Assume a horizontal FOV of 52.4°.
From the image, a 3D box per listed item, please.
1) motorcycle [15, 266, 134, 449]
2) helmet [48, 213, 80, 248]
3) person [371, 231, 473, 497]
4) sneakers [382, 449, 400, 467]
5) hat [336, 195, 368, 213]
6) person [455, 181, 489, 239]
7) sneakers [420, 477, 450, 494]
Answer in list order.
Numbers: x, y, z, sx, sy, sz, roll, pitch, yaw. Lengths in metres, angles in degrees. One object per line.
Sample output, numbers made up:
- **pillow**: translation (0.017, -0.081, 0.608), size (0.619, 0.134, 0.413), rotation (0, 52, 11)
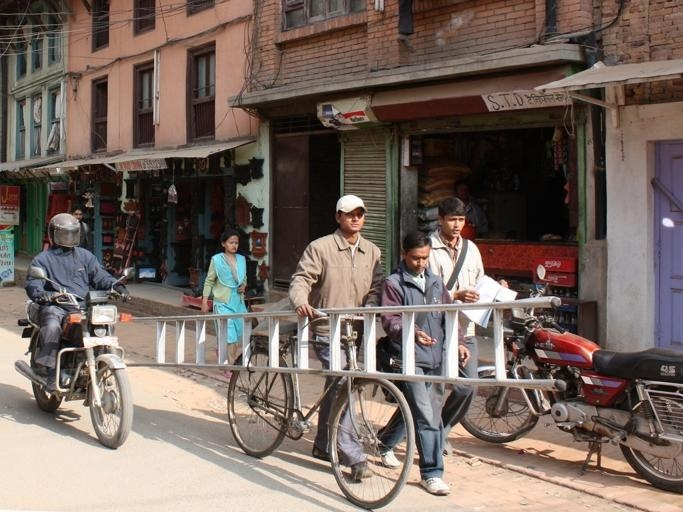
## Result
- **motorcycle**: translation (-2.568, 0.903, 6.846), size (0.969, 1.410, 2.065), rotation (2, 4, -38)
- **helmet**: translation (-2.850, -0.261, 7.214), size (0.277, 0.307, 0.371), rotation (-1, 1, -34)
- **person**: translation (0.637, 0.847, 5.473), size (0.700, 2.046, 1.000), rotation (2, 5, 12)
- **sneakers**: translation (0.376, 1.530, 5.169), size (0.098, 0.089, 0.215), rotation (0, 5, -18)
- **hat**: translation (0.059, -0.478, 5.996), size (0.194, 0.136, 0.263), rotation (0, -3, -18)
- **person**: translation (2.064, -0.671, 11.299), size (0.560, 1.296, 0.367), rotation (1, 38, 21)
- **sneakers**: translation (0.738, 1.792, 5.406), size (0.110, 0.081, 0.203), rotation (2, -4, -37)
